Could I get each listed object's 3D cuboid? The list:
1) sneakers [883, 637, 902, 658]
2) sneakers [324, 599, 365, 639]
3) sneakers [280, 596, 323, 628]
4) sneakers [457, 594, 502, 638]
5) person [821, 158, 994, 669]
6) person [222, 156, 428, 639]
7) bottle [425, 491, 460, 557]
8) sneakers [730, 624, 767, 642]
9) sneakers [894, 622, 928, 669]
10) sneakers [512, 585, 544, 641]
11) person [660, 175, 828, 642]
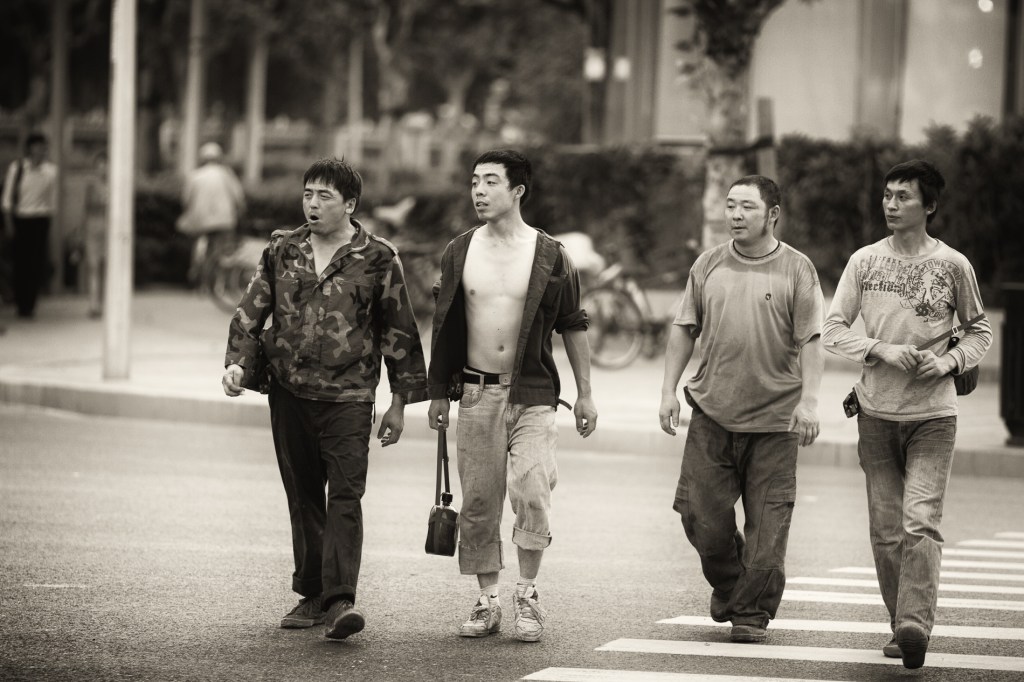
[{"bbox_3d":[2.370,1.925,10.454,0.071,0.080,0.201,-1,-7,-4],"label":"sneakers"},{"bbox_3d":[-1.014,1.729,10.381,0.157,0.209,0.309,7,-27,-28],"label":"sneakers"},{"bbox_3d":[-1.310,1.734,10.667,0.314,0.191,0.132,0,-5,-2],"label":"sneakers"},{"bbox_3d":[-0.249,1.762,10.662,0.144,0.235,0.396,-4,-9,29],"label":"sneakers"},{"bbox_3d":[2.422,0.422,10.468,0.857,3.078,0.734,4,5,33],"label":"person"},{"bbox_3d":[-1.168,0.344,10.640,1.261,2.997,0.773,1,4,-4],"label":"person"},{"bbox_3d":[-0.438,1.168,10.733,0.204,0.443,0.237,1,4,-3],"label":"bottle"},{"bbox_3d":[1.517,1.850,10.650,0.185,0.078,0.105,2,7,1],"label":"sneakers"},{"bbox_3d":[2.445,1.825,10.204,0.151,0.312,0.156,0,14,10],"label":"sneakers"},{"bbox_3d":[0.108,1.707,10.655,0.198,0.354,0.256,1,4,0],"label":"sneakers"},{"bbox_3d":[1.469,0.428,10.748,0.974,2.929,0.447,1,4,6],"label":"person"}]
